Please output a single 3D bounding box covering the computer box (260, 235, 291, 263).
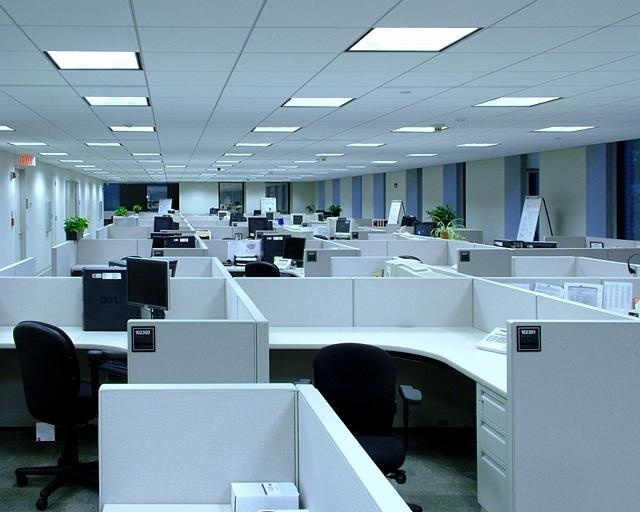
[{"bbox_3d":[-0.697,-0.108,8.170,0.487,0.429,0.442,0,2,-7],"label":"computer box"}]

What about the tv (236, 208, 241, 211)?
[{"bbox_3d":[-4.353,-2.456,27.675,0.334,0.201,0.168,1,-2,-24],"label":"tv"}]

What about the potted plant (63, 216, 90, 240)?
[{"bbox_3d":[-3.446,-0.353,7.340,0.373,0.253,0.409,2,3,-8],"label":"potted plant"}]

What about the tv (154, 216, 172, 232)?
[{"bbox_3d":[-2.932,-0.578,9.756,0.400,0.338,0.203,1,9,-12],"label":"tv"}]

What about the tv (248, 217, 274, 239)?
[{"bbox_3d":[-1.168,-0.581,10.244,0.583,0.505,0.382,0,1,-26],"label":"tv"}]

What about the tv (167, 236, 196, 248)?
[{"bbox_3d":[-1.925,-0.195,7.208,0.413,0.157,0.201,0,-1,-14],"label":"tv"}]

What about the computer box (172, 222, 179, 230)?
[{"bbox_3d":[-2.799,-0.575,10.134,0.141,0.180,0.106,-1,5,-23],"label":"computer box"}]

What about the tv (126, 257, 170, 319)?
[{"bbox_3d":[-1.082,0.257,3.461,0.509,0.462,0.163,3,1,42],"label":"tv"}]

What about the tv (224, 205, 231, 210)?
[{"bbox_3d":[-5.100,-2.654,28.935,0.404,0.337,0.199,0,0,-4],"label":"tv"}]

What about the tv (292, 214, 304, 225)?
[{"bbox_3d":[-0.587,-0.949,13.854,0.404,0.355,0.256,1,1,-1],"label":"tv"}]

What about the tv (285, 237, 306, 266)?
[{"bbox_3d":[-0.369,-0.075,7.734,0.399,0.333,0.092,12,3,35],"label":"tv"}]
